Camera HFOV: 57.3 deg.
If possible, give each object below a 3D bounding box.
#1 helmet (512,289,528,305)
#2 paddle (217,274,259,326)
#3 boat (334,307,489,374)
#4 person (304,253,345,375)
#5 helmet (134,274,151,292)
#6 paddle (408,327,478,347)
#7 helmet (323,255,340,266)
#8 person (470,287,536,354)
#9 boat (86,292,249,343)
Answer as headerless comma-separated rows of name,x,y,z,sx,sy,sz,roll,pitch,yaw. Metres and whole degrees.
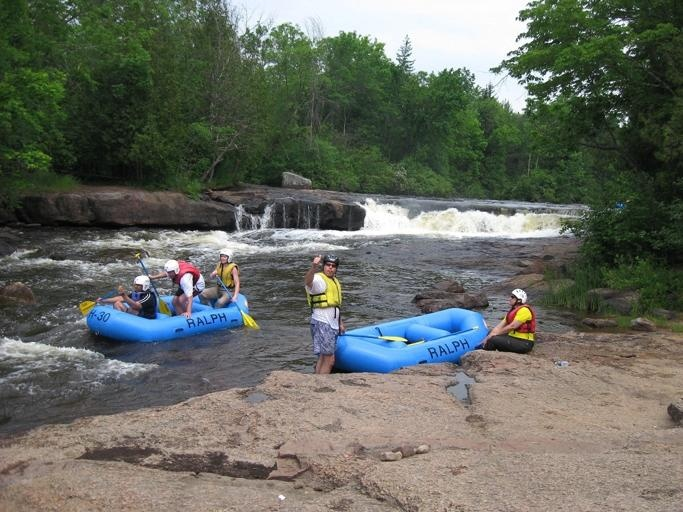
helmet,3.304,0.758,11.581,0.248,0.287,0.295,0,9,9
paddle,-2.369,1.030,14.220,1.879,0.291,0.084,38,-17,15
boat,1.371,1.594,11.733,2.449,0.430,1.304,-5,4,-39
person,-0.277,1.016,10.769,0.630,2.233,1.269,-1,10,0
helmet,-4.074,0.527,12.892,0.302,0.264,0.361,5,9,-35
paddle,1.913,1.548,11.903,1.337,0.140,0.109,-10,21,-4
helmet,-0.130,0.076,10.647,0.223,0.195,0.232,12,-26,-9
person,3.045,1.243,11.850,1.432,1.058,0.908,-5,6,-9
boat,-3.475,1.160,12.801,2.112,0.353,1.252,-2,8,-41
